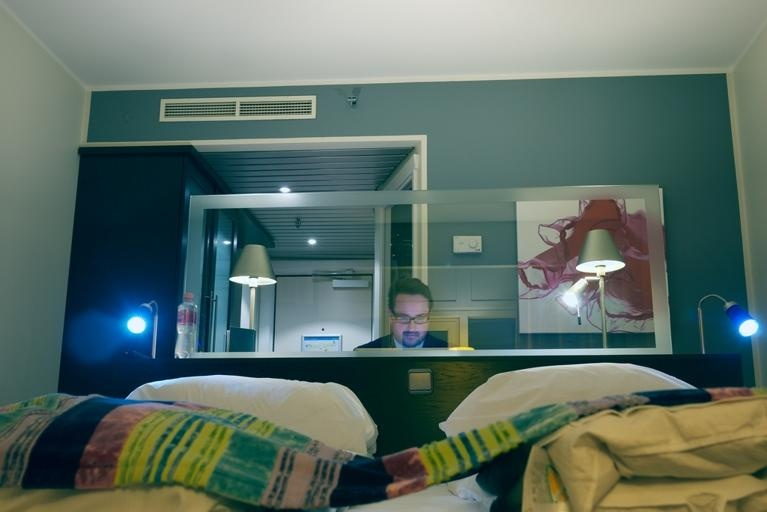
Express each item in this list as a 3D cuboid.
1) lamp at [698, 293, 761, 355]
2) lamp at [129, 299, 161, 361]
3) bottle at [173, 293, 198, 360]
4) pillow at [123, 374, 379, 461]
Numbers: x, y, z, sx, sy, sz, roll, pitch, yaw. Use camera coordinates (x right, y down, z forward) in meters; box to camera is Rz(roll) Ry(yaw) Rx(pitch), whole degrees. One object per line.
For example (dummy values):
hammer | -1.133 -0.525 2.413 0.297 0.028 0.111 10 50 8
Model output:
lamp | 2.029 0.420 3.339 0.100 0.360 0.246 40 -45 -11
lamp | -1.281 0.415 3.050 0.179 0.368 0.091 5 -39 -14
bottle | -1.048 0.364 3.008 0.103 0.340 0.173 2 -9 -21
pillow | -0.496 0.588 2.286 0.752 0.184 0.449 4 7 2
